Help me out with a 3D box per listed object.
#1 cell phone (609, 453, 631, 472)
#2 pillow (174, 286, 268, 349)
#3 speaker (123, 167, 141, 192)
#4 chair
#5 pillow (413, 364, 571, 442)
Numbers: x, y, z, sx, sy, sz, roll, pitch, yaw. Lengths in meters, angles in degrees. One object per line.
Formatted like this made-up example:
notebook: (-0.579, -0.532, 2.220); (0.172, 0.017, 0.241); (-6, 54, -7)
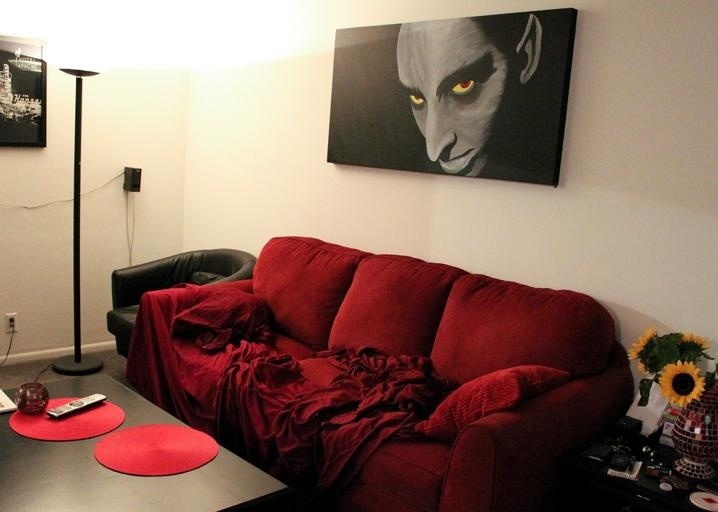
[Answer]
cell phone: (1.027, 0.804, 2.018); (0.044, 0.017, 0.068); (7, 15, 26)
pillow: (-0.817, 0.387, 3.170); (0.375, 0.170, 0.367); (-18, 32, -38)
speaker: (-1.833, -0.613, 4.139); (0.131, 0.191, 0.068); (-6, 12, -27)
chair: (-1.389, 0.386, 3.815); (0.894, 0.834, 0.855); (13, 10, 33)
pillow: (0.589, 0.630, 2.133); (0.689, 0.302, 0.288); (-3, 11, -16)
